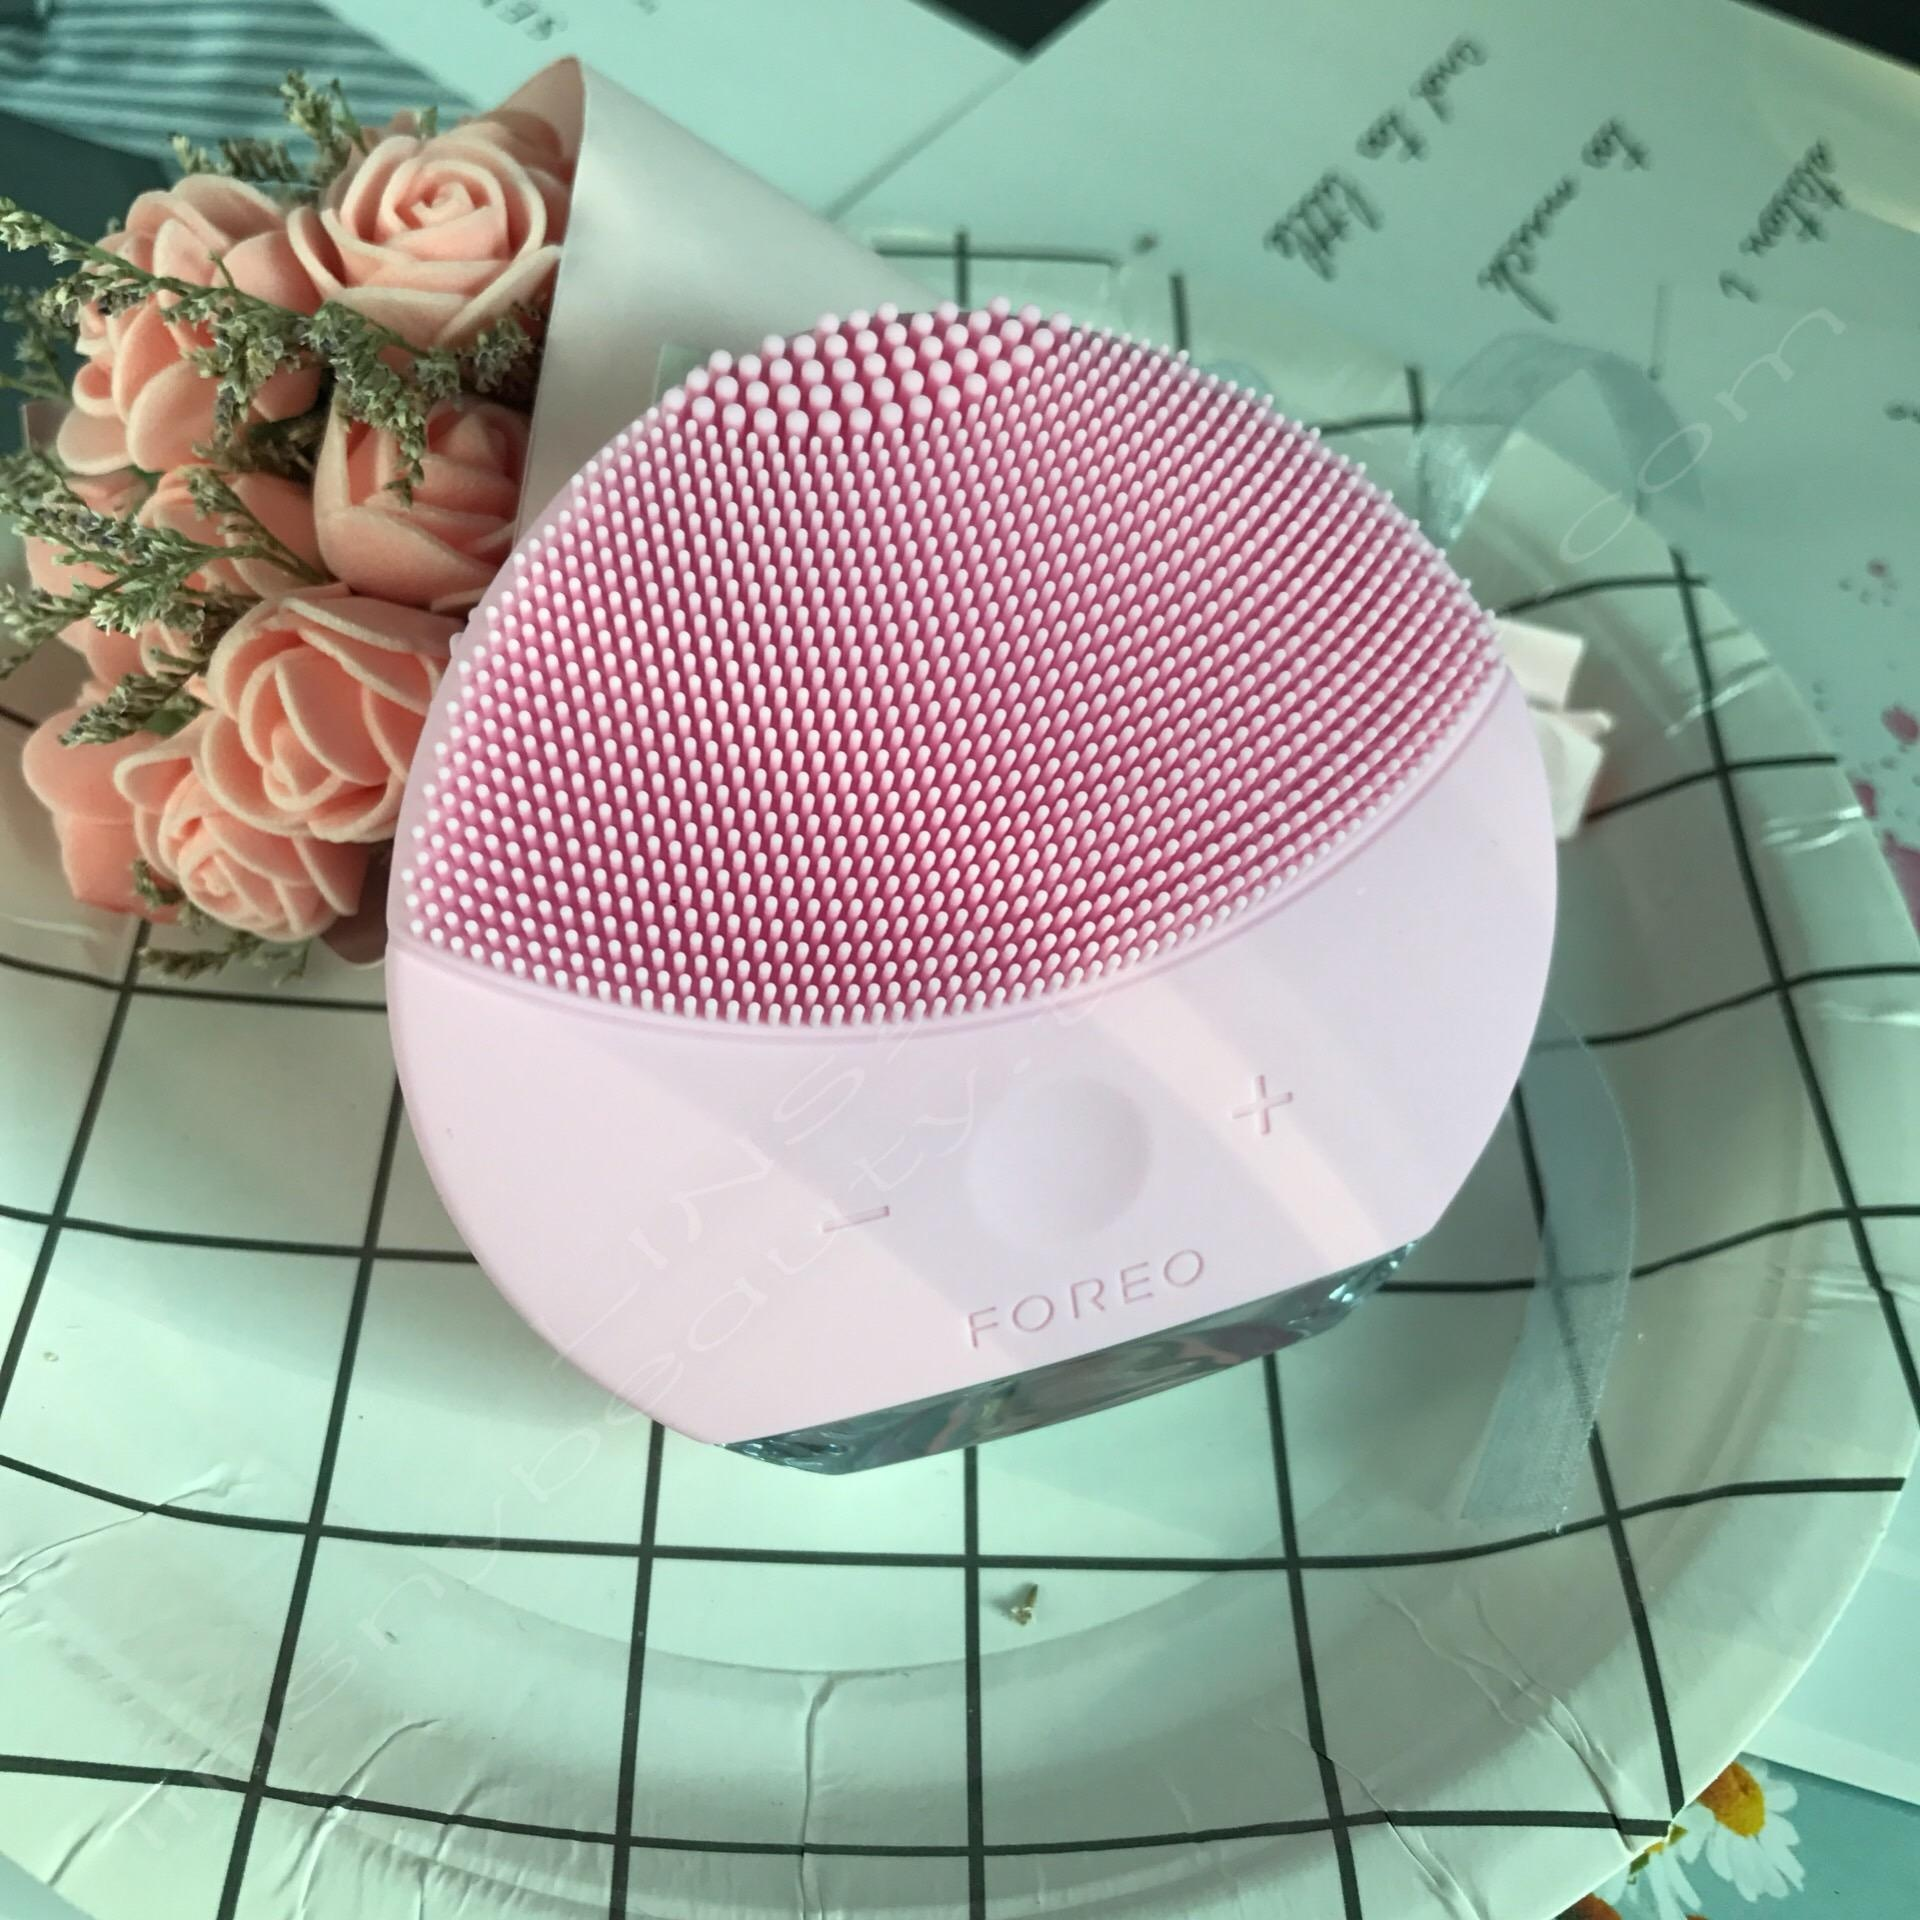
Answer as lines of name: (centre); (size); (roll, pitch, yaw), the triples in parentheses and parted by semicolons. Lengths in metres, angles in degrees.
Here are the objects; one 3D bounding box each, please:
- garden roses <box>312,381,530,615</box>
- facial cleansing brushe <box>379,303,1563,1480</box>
garden roses: (-0.152, -0.126, 0.618); (0.061, 0.040, 0.061); (8, 81, -14)
facial cleansing brushe: (0.004, -0.027, 0.612); (0.333, 0.092, 0.295); (-8, 78, -7)
